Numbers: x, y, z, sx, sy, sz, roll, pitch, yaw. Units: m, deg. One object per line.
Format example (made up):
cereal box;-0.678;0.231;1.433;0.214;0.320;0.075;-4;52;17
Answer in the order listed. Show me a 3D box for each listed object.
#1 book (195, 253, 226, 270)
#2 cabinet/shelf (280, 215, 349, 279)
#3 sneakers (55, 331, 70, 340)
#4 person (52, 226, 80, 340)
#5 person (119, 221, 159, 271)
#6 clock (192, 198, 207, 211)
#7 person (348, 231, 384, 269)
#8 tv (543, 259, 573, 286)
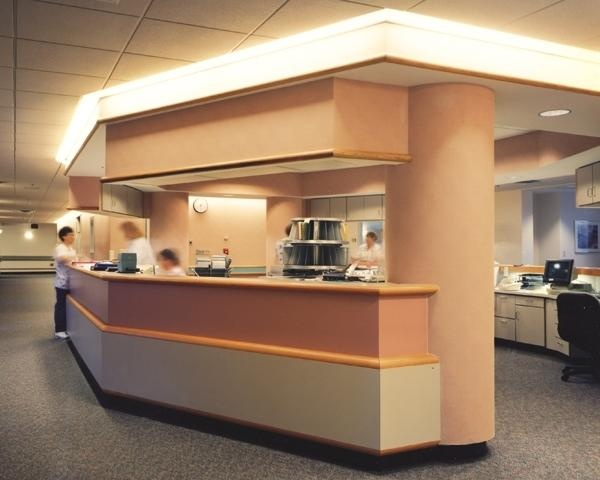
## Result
book;-1.154;0.288;6.348;0.381;0.147;0.303;0;2;-4
cabinet/shelf;0.209;0.113;6.774;0.857;0.686;0.862;-2;-5;16
sneakers;-4.032;1.625;8.182;0.168;0.103;0.267;-1;3;-36
person;-4.058;0.734;8.375;0.360;1.859;0.757;-1;3;-26
person;-3.261;0.016;9.764;0.627;0.829;1.860;0;2;-20
clock;-2.219;-0.779;10.746;0.274;0.283;0.282;3;-3;2
person;1.246;0.179;8.836;0.556;0.874;0.493;-4;-12;39
tv;4.169;0.531;7.753;0.198;0.393;0.386;10;-8;-14
